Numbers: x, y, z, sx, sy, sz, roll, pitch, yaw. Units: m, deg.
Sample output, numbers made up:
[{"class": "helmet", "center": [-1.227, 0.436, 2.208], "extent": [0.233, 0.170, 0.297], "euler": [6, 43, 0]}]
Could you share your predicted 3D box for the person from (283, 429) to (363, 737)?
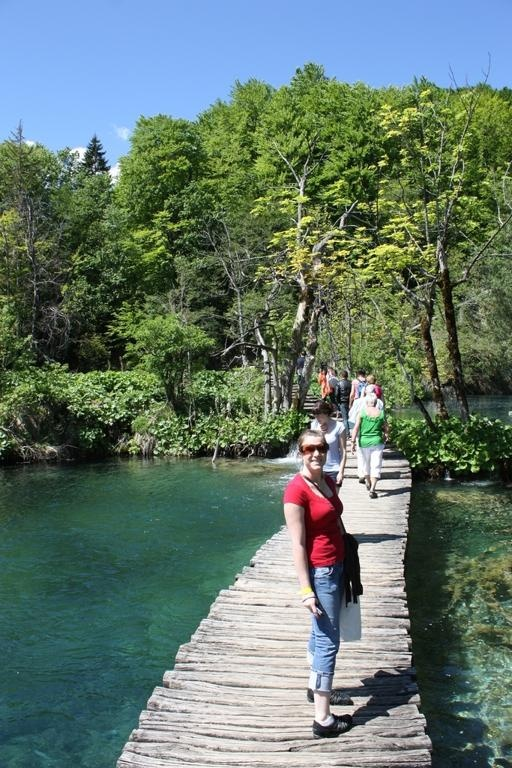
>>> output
[{"class": "person", "center": [0.363, 1.111, 3.623], "extent": [0.327, 1.716, 0.548], "euler": [-1, 4, 14]}]

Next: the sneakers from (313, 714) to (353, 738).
[{"class": "sneakers", "center": [0.447, 1.899, 3.735], "extent": [0.250, 0.112, 0.092], "euler": [-7, 11, -28]}]

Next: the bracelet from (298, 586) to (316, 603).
[{"class": "bracelet", "center": [0.268, 1.080, 3.441], "extent": [0.068, 0.083, 0.144], "euler": [-2, 3, 5]}]
